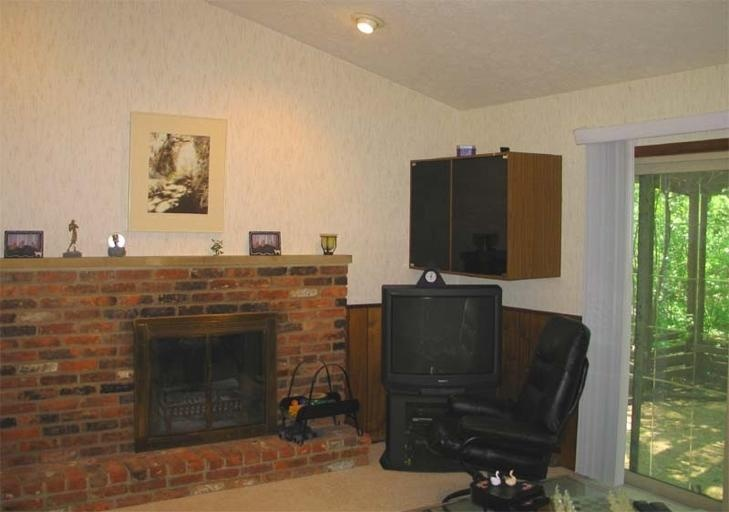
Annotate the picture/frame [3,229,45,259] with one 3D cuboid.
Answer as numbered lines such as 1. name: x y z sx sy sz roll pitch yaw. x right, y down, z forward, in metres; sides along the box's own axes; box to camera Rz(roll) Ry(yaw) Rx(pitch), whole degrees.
1. picture/frame: -2.499 -0.086 4.349 0.226 0.188 0.036 1 -7 -25

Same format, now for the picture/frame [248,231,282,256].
1. picture/frame: -0.844 -0.105 4.990 0.220 0.178 0.029 0 -3 -20

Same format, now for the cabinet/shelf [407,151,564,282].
1. cabinet/shelf: 1.033 -0.376 5.358 0.690 1.032 1.311 -5 7 -37

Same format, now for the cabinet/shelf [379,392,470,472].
1. cabinet/shelf: 0.549 1.427 5.058 0.867 0.702 0.519 1 9 8

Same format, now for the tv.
1. tv: 0.598 0.713 5.097 1.046 0.849 0.578 1 -5 -11

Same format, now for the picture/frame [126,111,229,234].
1. picture/frame: -1.522 -0.678 4.746 1.025 1.243 0.075 1 1 -27

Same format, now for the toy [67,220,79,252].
1. toy: -2.201 -0.160 4.502 0.081 0.236 0.050 -3 5 -26
